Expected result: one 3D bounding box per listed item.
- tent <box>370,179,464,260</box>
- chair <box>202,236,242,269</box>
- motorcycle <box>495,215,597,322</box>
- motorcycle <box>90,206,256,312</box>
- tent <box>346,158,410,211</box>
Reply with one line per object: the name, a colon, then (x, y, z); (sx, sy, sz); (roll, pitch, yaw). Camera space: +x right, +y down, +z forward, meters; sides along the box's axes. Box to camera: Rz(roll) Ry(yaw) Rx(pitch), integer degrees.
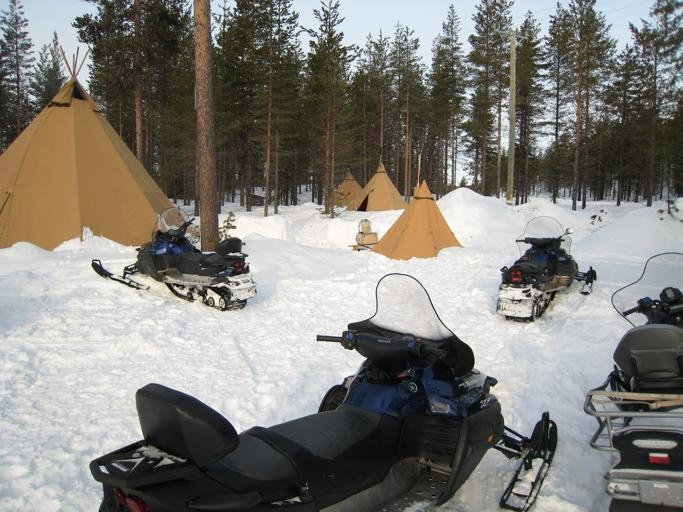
tent: (2.337, -0.836, 19.085); (2.208, 2.024, 2.761); (1, 5, 9)
chair: (-2.174, -0.061, 11.752); (0.378, 0.484, 0.858); (0, 7, -17)
motorcycle: (4.185, 0.238, 12.732); (1.448, 1.473, 2.748); (1, 16, 28)
motorcycle: (-3.087, -0.121, 12.358); (3.298, 1.590, 1.593); (16, 16, 29)
tent: (2.116, -3.603, 32.159); (2.962, 2.639, 2.576); (7, 10, 42)
